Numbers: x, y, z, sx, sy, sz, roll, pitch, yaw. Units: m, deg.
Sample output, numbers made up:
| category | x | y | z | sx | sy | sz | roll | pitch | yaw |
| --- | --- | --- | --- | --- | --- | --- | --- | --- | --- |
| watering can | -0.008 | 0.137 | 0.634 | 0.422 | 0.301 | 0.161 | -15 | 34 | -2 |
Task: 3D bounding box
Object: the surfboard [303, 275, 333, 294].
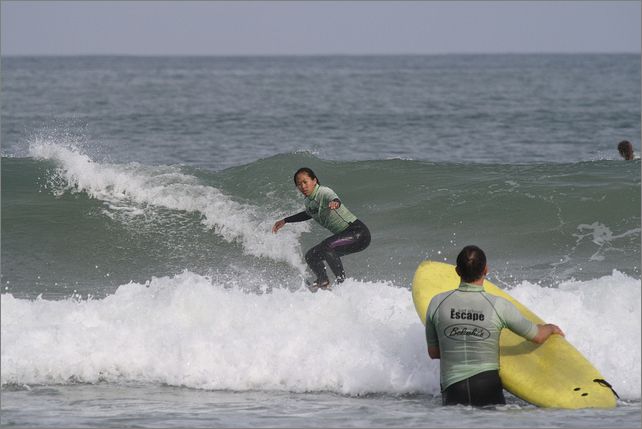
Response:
| category | x | y | z | sx | sy | sz | roll | pitch | yaw |
| --- | --- | --- | --- | --- | --- | --- | --- | --- | --- |
| surfboard | -0.121 | 1.728 | 24.043 | 0.824 | 0.510 | 0.265 | 13 | 23 | 26 |
